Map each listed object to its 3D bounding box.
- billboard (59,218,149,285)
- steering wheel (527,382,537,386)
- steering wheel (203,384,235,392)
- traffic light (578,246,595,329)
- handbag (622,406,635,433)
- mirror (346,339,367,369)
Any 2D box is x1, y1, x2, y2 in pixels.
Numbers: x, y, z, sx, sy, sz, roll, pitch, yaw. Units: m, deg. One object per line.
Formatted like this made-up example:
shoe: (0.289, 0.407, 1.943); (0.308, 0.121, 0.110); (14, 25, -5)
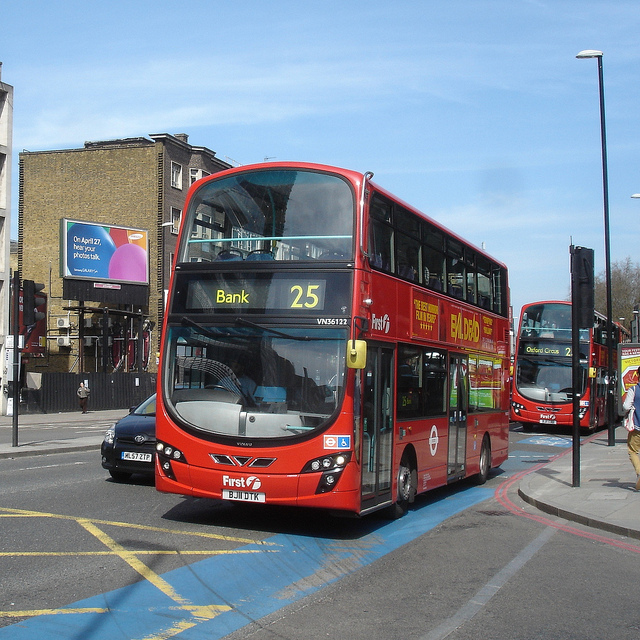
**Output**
billboard: (-13.109, -4.127, 45.252); (5.639, 3.727, 0.520); (6, -5, -43)
steering wheel: (8.042, 2.402, 28.099); (0.298, 0.123, 0.038); (-1, -3, 21)
steering wheel: (-1.171, 0.784, 8.591); (0.372, 0.087, 0.065); (-2, -5, 30)
traffic light: (4.510, -0.558, 12.557); (0.243, 1.371, 0.636); (0, -3, 19)
handbag: (5.212, 1.655, 12.470); (0.153, 0.438, 0.774); (0, -5, 23)
mirror: (0.411, 0.389, 7.962); (0.255, 0.467, 0.222); (-1, -5, 12)
